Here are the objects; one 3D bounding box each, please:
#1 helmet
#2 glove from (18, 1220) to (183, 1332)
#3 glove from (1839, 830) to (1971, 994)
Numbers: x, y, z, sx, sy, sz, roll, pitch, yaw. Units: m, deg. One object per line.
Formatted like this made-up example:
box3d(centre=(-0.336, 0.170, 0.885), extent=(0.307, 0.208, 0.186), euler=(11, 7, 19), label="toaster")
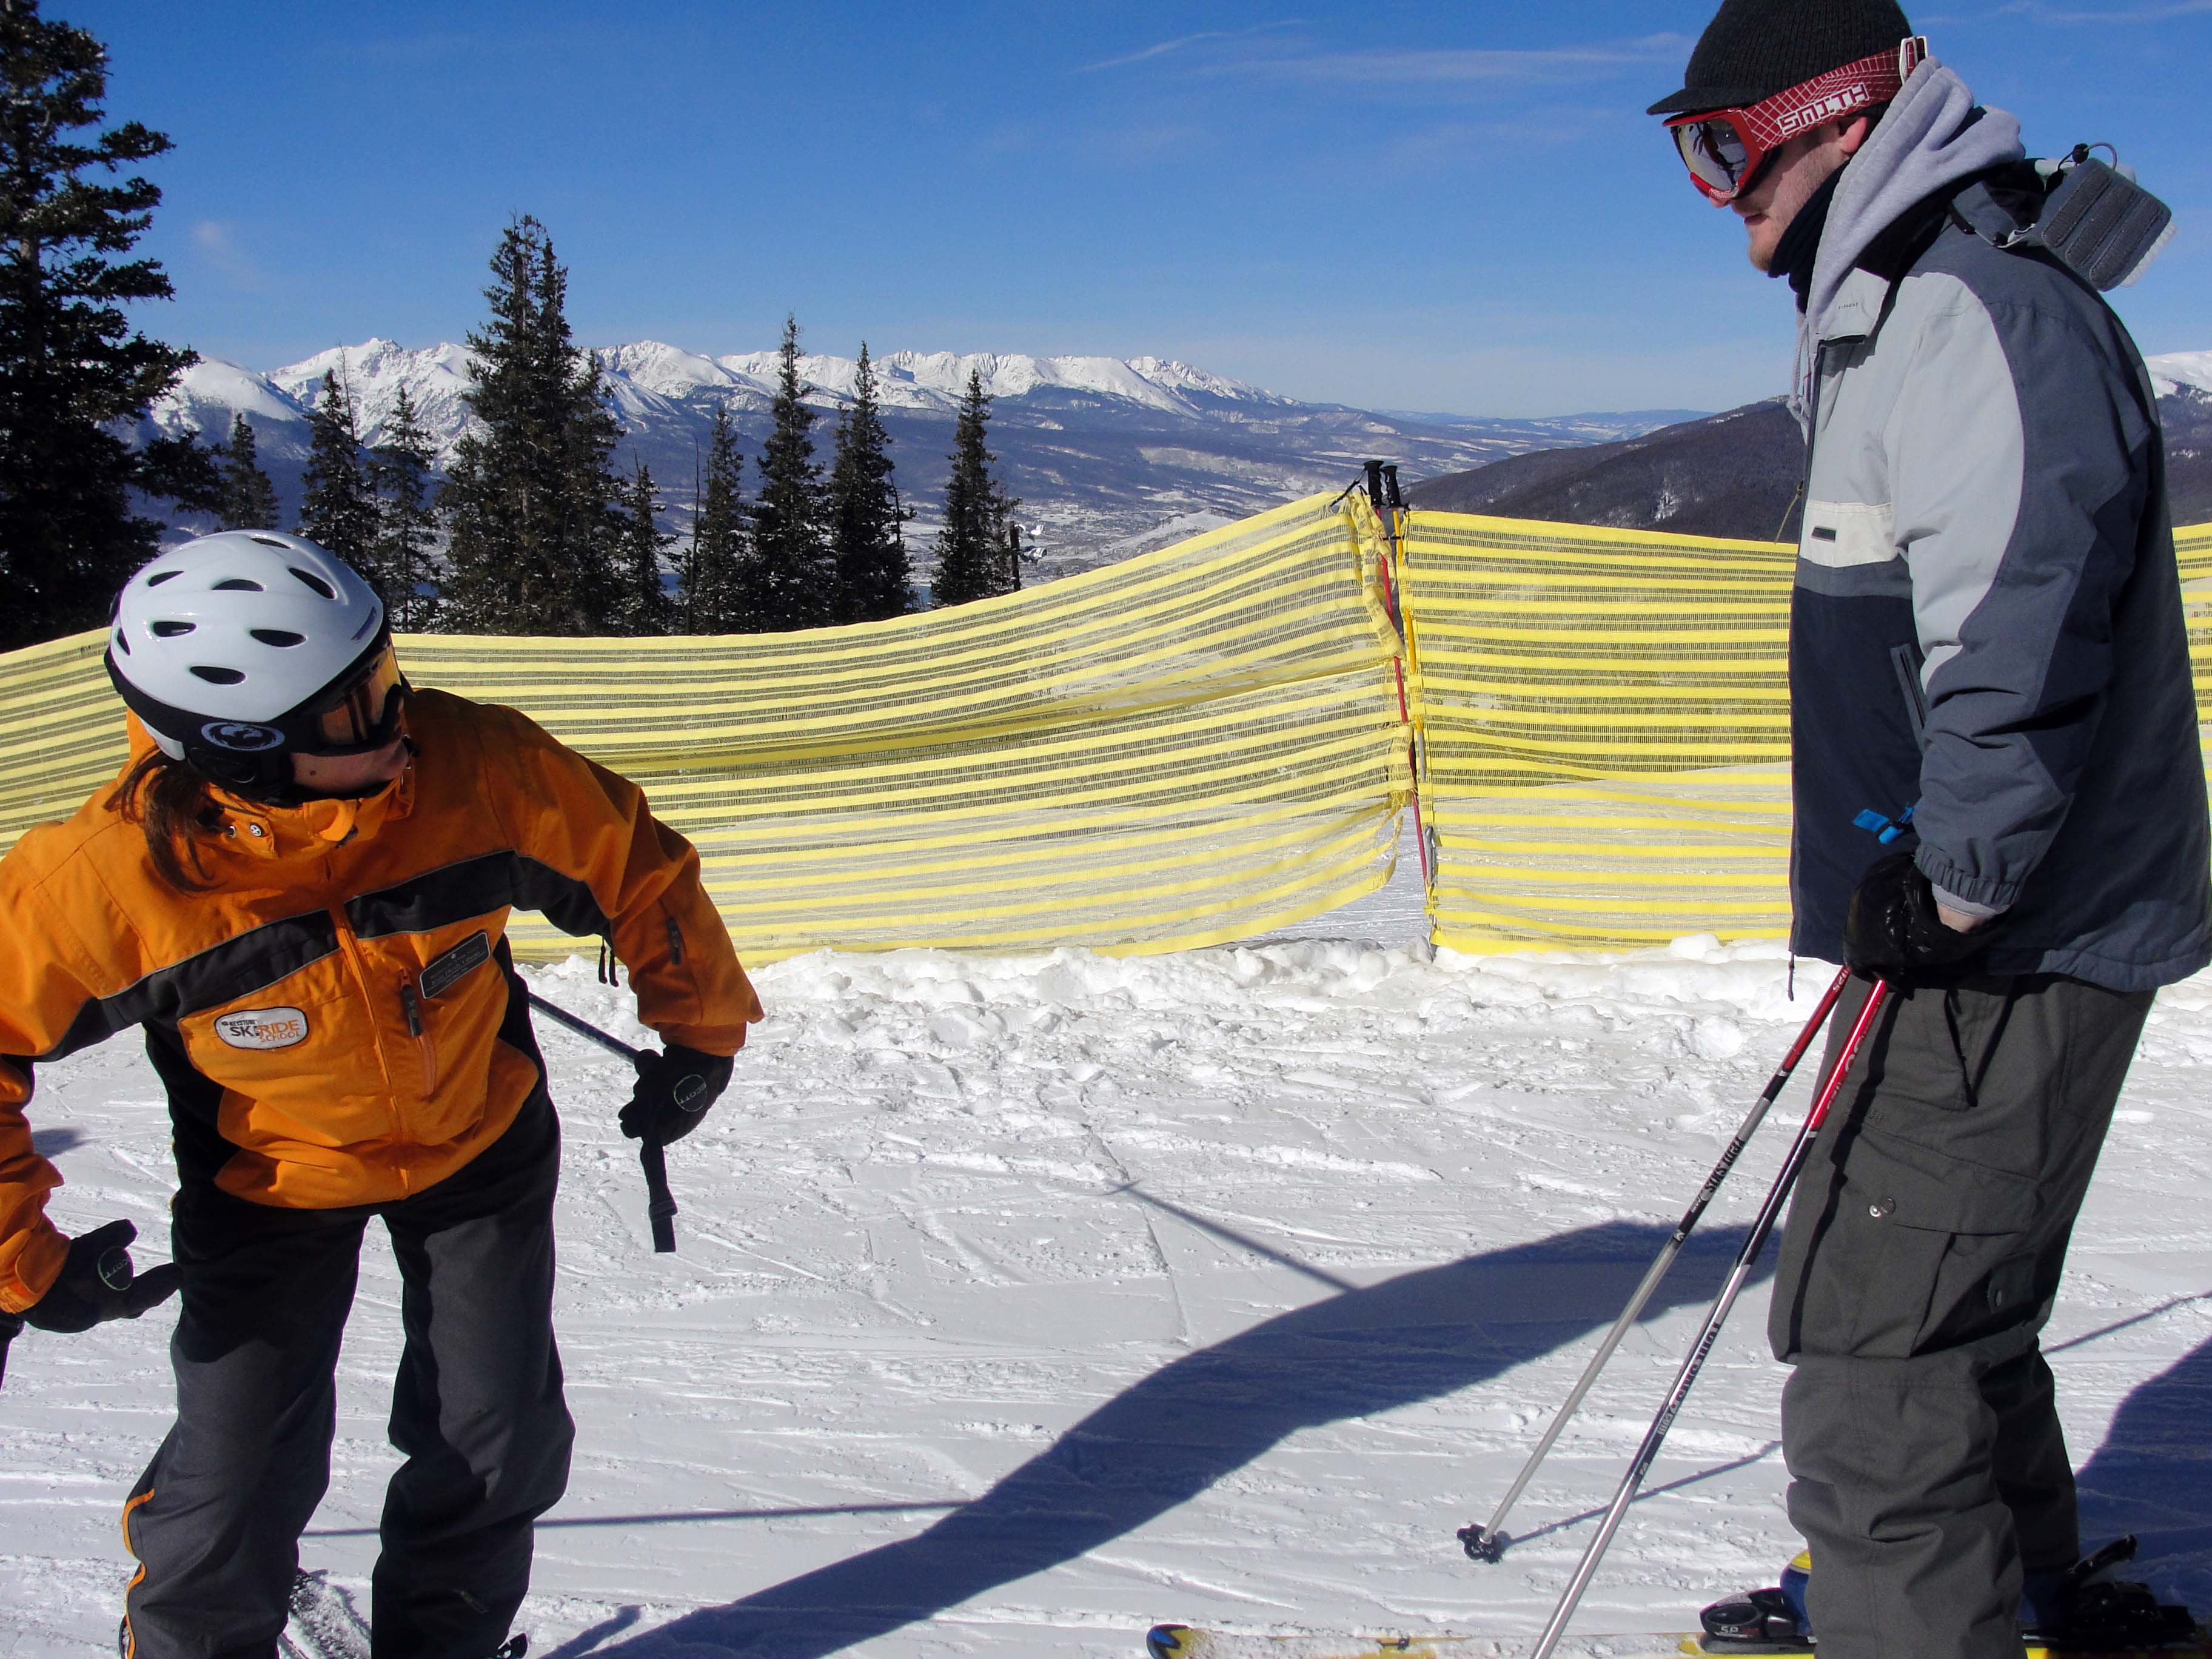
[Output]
box3d(centre=(-1.500, -0.268, 3.809), extent=(0.724, 0.427, 0.404), euler=(6, 51, -9), label="helmet")
box3d(centre=(-1.833, 0.832, 3.751), extent=(0.183, 0.217, 0.256), euler=(0, 7, 6), label="glove")
box3d(centre=(1.447, 0.150, 3.718), extent=(0.192, 0.273, 0.220), euler=(-2, 8, -8), label="glove")
